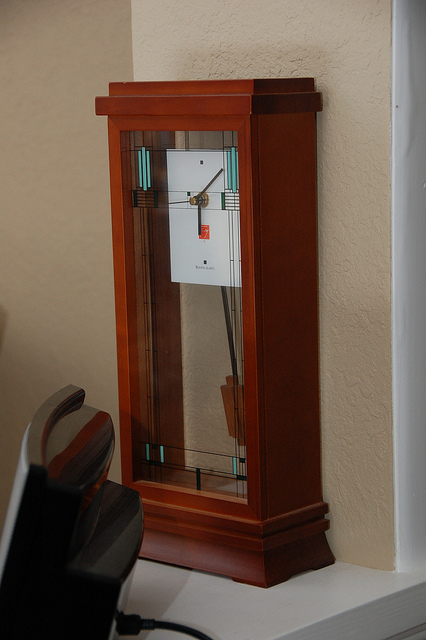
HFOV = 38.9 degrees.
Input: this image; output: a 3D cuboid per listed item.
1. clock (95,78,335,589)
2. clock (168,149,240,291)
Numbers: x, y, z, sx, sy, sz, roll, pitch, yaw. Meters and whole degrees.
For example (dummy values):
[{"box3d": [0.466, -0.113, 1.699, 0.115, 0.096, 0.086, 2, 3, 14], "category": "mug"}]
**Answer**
[{"box3d": [0.002, 0.013, 0.882, 0.320, 0.716, 0.140, 1, 7, 22], "category": "clock"}, {"box3d": [-0.018, -0.143, 0.846, 0.135, 0.195, 0.034, 4, 9, 41], "category": "clock"}]
